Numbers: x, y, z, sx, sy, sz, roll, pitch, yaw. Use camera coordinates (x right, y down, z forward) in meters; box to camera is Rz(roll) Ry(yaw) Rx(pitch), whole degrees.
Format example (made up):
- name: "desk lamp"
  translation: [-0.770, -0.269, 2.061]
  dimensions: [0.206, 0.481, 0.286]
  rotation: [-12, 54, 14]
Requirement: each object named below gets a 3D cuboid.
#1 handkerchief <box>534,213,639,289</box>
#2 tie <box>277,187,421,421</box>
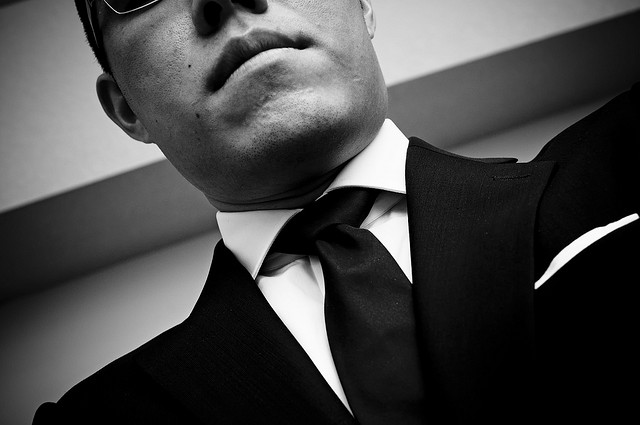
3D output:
- name: "handkerchief"
  translation: [0.413, 0.048, 0.921]
  dimensions: [0.139, 0.053, 0.124]
  rotation: [-53, -17, 17]
- name: "tie"
  translation: [0.046, 0.119, 0.873]
  dimensions: [0.170, 0.085, 0.356]
  rotation: [-23, 67, 9]
